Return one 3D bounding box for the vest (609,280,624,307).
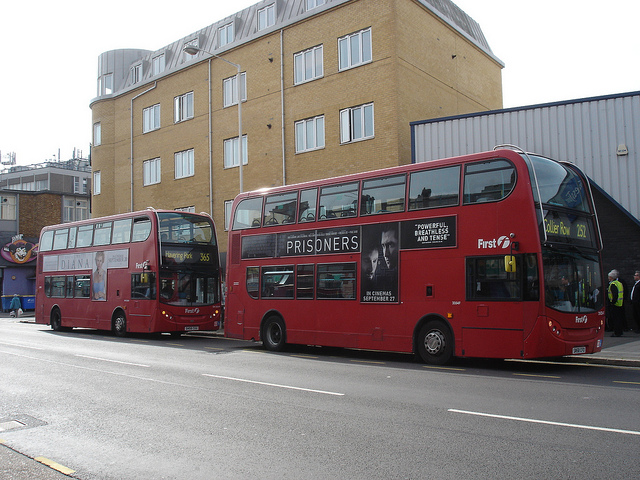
[{"bbox_3d":[10.366,1.888,19.141,0.460,0.906,0.396,-4,-7,28],"label":"vest"}]

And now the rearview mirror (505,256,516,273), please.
[{"bbox_3d":[4.432,0.576,12.797,0.302,0.371,0.213,3,-8,-29],"label":"rearview mirror"}]

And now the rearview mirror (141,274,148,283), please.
[{"bbox_3d":[-7.287,1.591,22.535,0.275,0.373,0.298,1,0,16],"label":"rearview mirror"}]

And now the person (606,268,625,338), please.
[{"bbox_3d":[10.501,2.246,19.408,0.547,2.327,1.056,-4,-7,30],"label":"person"}]

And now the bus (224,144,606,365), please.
[{"bbox_3d":[1.904,0.822,16.739,11.877,5.607,3.036,-8,-10,40],"label":"bus"}]

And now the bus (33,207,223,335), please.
[{"bbox_3d":[-9.036,1.812,27.154,11.544,6.135,4.547,-4,-5,45],"label":"bus"}]
